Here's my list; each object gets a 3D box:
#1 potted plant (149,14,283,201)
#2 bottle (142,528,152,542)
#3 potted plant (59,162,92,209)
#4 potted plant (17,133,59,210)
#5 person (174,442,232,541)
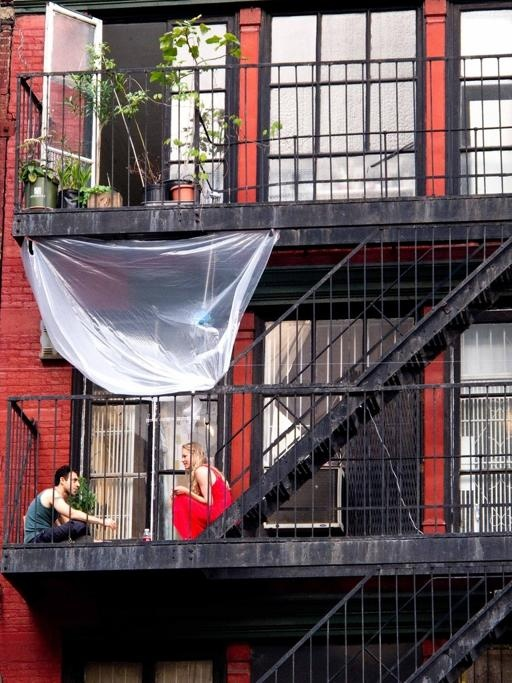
[{"bbox_3d":[-0.424,-2.021,16.860,1.322,2.459,0.793,-2,-42,8],"label":"potted plant"},{"bbox_3d":[-0.886,1.571,15.244,0.058,0.152,0.072,0,-1,-7],"label":"bottle"},{"bbox_3d":[-1.589,-1.337,16.426,0.259,0.608,0.277,0,-44,-3],"label":"potted plant"},{"bbox_3d":[-1.890,-1.459,16.380,0.262,0.687,0.343,-1,1,-3],"label":"potted plant"},{"bbox_3d":[-0.469,1.228,15.575,0.414,1.037,0.339,-3,30,-6],"label":"person"}]
